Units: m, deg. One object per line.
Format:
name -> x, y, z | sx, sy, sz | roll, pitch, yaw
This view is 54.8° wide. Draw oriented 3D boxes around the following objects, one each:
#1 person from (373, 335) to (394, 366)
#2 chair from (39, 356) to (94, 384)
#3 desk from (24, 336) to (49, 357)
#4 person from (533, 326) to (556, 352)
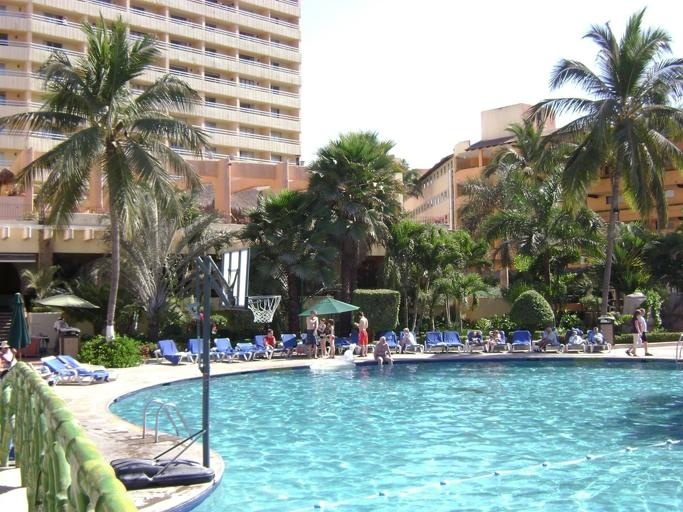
person -> 1.591, 3.433, 24.306 | 0.645, 1.104, 0.700 | 1, 2, -22
chair -> -7.632, 3.059, 18.009 | 1.020, 0.420, 0.785 | 7, -8, 41
desk -> -11.904, 3.572, 25.919 | 1.006, 0.688, 1.084 | 1, -4, -4
person -> 8.527, 3.455, 27.584 | 0.947, 1.301, 0.654 | 1, -1, 2
